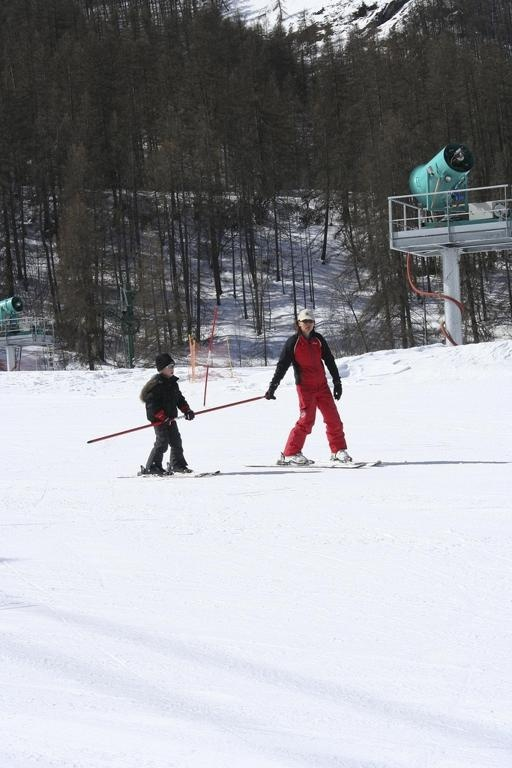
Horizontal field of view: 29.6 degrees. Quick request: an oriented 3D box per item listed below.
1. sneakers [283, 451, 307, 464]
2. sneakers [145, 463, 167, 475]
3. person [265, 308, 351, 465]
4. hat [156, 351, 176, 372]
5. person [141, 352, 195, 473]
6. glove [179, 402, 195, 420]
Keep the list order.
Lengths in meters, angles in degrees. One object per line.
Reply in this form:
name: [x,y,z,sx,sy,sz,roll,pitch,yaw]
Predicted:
sneakers: [0.374,0.728,9.469,0.256,0.124,0.096,-3,-6,25]
sneakers: [-0.975,0.812,9.329,0.173,0.072,0.108,-5,-6,34]
person: [0.479,0.037,9.565,0.711,1.134,1.064,-7,3,3]
hat: [-0.946,-0.239,9.688,0.192,0.150,0.178,-40,-5,2]
person: [-0.921,0.295,9.687,0.559,0.993,0.964,-8,3,-4]
glove: [-0.713,0.285,9.719,0.081,0.223,0.161,-33,-13,15]
